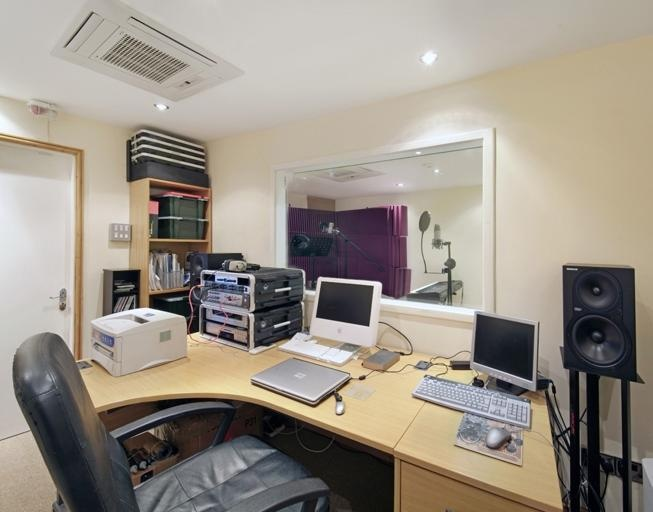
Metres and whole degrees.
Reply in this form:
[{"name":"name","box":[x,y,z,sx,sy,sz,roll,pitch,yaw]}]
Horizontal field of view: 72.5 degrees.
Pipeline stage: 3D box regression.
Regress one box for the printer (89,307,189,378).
[{"name":"printer","box":[-1.179,0.509,2.807,0.424,0.263,0.421,0,4,-44]}]

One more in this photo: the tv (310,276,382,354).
[{"name":"tv","box":[0.134,0.409,2.983,0.457,0.402,0.159,4,-12,31]}]

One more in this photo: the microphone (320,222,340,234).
[{"name":"microphone","box":[0.027,-0.221,3.563,0.122,0.043,0.087,11,8,41]}]

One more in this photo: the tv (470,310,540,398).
[{"name":"tv","box":[0.990,0.562,2.491,0.437,0.482,0.220,-2,-6,45]}]

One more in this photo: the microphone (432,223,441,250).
[{"name":"microphone","box":[0.758,-0.134,3.063,0.067,0.170,0.010,2,4,30]}]

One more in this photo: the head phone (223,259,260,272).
[{"name":"head phone","box":[-0.621,0.077,3.235,0.130,0.053,0.172,-1,-3,36]}]

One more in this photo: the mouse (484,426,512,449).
[{"name":"mouse","box":[0.808,0.859,2.115,0.133,0.072,0.077,-2,4,-36]}]

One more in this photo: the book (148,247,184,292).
[{"name":"book","box":[-1.390,0.141,3.823,0.305,0.342,0.286,1,4,24]}]

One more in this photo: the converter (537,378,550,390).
[{"name":"converter","box":[1.179,0.694,2.447,0.073,0.054,0.073,-3,-4,27]}]
